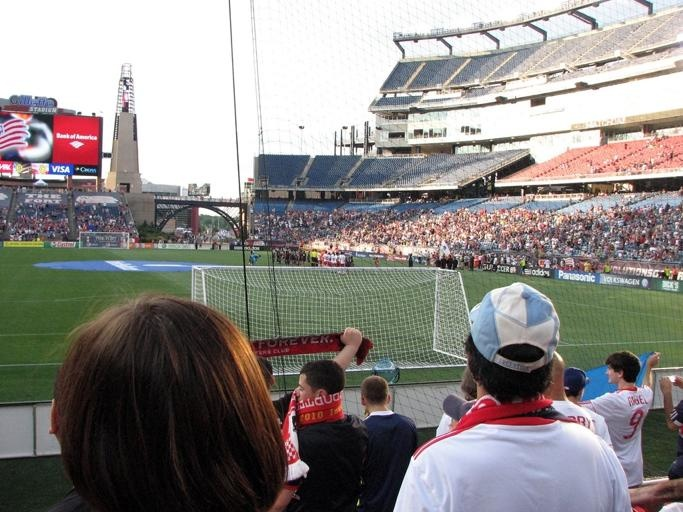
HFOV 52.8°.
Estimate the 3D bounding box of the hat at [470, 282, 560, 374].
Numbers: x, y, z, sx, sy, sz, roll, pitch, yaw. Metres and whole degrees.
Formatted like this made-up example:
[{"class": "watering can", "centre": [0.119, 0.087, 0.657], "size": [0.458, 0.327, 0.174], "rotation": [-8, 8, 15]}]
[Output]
[{"class": "hat", "centre": [0.830, 0.326, 3.306], "size": [0.316, 0.274, 0.473], "rotation": [2, 19, 2]}]
